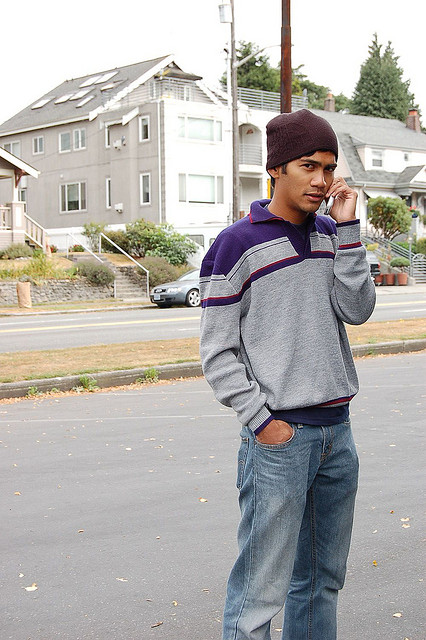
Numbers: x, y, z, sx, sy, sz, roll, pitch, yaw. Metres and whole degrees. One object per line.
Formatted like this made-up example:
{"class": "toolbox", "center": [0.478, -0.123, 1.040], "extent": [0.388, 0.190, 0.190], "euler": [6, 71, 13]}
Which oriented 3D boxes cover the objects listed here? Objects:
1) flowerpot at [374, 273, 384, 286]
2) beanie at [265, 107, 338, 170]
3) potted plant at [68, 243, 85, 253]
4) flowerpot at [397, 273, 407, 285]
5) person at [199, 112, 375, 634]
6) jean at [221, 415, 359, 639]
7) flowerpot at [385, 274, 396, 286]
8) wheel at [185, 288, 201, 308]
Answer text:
{"class": "flowerpot", "center": [8.883, -2.200, 40.629], "extent": [0.410, 0.658, 1.219], "euler": [0, 4, 15]}
{"class": "beanie", "center": [0.267, -0.585, 2.444], "extent": [0.240, 0.180, 0.239], "euler": [-4, 3, 2]}
{"class": "potted plant", "center": [-6.797, -3.560, 37.744], "extent": [0.810, 0.558, 0.920], "euler": [1, -7, -17]}
{"class": "flowerpot", "center": [10.190, -2.229, 40.893], "extent": [0.577, 0.583, 0.328], "euler": [-4, 5, -34]}
{"class": "person", "center": [0.220, 0.194, 2.416], "extent": [0.392, 1.678, 0.627], "euler": [2, 5, 41]}
{"class": "jean", "center": [0.227, 0.688, 2.368], "extent": [0.281, 0.786, 0.492], "euler": [2, 5, 37]}
{"class": "flowerpot", "center": [9.494, -2.199, 40.739], "extent": [0.624, 0.469, 0.587], "euler": [0, -4, 3]}
{"class": "wheel", "center": [-0.742, -0.810, 27.111], "extent": [0.514, 0.699, 0.821], "euler": [-1, 4, -3]}
